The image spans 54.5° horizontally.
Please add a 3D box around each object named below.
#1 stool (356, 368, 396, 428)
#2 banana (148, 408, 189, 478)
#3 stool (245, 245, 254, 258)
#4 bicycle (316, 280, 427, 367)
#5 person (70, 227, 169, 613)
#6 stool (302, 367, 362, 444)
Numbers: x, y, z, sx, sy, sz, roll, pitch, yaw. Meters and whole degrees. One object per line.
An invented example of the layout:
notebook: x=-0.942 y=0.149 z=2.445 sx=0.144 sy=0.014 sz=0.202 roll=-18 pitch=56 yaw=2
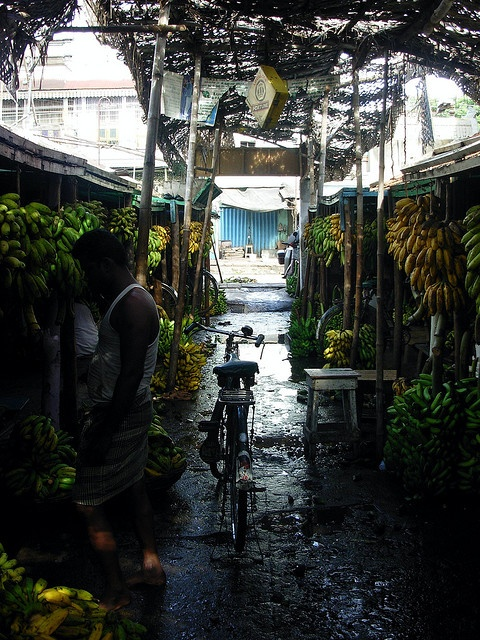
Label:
stool: x=1.447 y=0.802 z=5.187 sx=0.552 sy=0.713 sz=0.612 roll=-1 pitch=-1 yaw=2
banana: x=-0.583 y=0.930 z=3.585 sx=0.177 sy=0.218 sz=0.596 roll=-6 pitch=15 yaw=-7
stool: x=0.474 y=-4.083 z=27.797 sx=0.437 sy=0.810 sz=0.739 roll=0 pitch=2 yaw=-2
bicycle: x=1.972 y=-0.084 z=7.360 sx=1.568 sy=1.140 sz=0.844 roll=-7 pitch=4 yaw=-4
person: x=-0.564 y=0.472 z=2.160 sx=0.368 sy=1.764 sz=0.442 roll=1 pitch=2 yaw=3
stool: x=0.871 y=0.839 z=4.470 sx=0.509 sy=0.734 sz=0.575 roll=-1 pitch=1 yaw=-12
